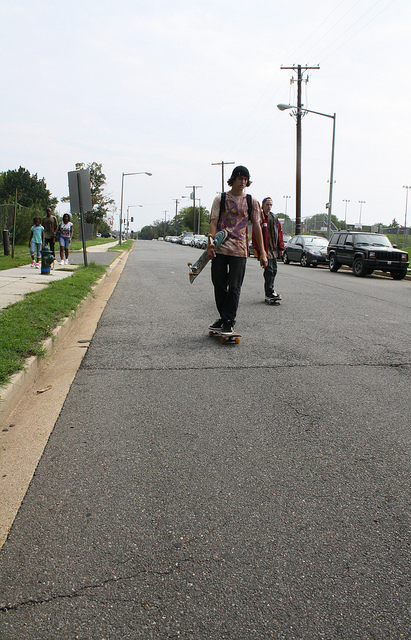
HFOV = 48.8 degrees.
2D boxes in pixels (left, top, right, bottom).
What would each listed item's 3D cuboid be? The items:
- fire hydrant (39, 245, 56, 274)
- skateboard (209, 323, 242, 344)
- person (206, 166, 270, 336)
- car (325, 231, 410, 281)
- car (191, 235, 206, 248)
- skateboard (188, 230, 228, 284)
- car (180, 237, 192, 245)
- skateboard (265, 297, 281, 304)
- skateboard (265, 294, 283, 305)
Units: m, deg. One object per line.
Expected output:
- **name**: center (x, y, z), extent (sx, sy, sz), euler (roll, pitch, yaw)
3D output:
- **fire hydrant**: center (-4.655, -1.769, 13.336), extent (0.367, 0.801, 1.019), euler (-1, 6, -20)
- **skateboard**: center (0.281, 0.201, 6.280), extent (0.325, 0.186, 0.495), euler (-1, 6, -18)
- **person**: center (0.395, -0.905, 6.113), extent (0.762, 2.206, 0.480), euler (0, 5, -5)
- **car**: center (7.085, -2.946, 20.101), extent (1.724, 2.194, 3.621), euler (-2, 7, -26)
- **car**: center (-1.328, -11.186, 62.820), extent (1.070, 0.940, 2.459), euler (1, 2, -15)
- **skateboard**: center (0.007, -0.897, 6.259), extent (0.267, 1.129, 0.155), euler (41, 48, 6)
- **car**: center (-3.200, -13.189, 74.884), extent (1.249, 1.076, 2.907), euler (-4, 7, -25)
- **skateboard**: center (1.472, -0.428, 9.868), extent (0.327, 0.149, 0.381), euler (2, 6, 8)
- **skateboard**: center (1.468, -0.457, 9.884), extent (0.138, 0.242, 0.457), euler (1, 9, -20)
